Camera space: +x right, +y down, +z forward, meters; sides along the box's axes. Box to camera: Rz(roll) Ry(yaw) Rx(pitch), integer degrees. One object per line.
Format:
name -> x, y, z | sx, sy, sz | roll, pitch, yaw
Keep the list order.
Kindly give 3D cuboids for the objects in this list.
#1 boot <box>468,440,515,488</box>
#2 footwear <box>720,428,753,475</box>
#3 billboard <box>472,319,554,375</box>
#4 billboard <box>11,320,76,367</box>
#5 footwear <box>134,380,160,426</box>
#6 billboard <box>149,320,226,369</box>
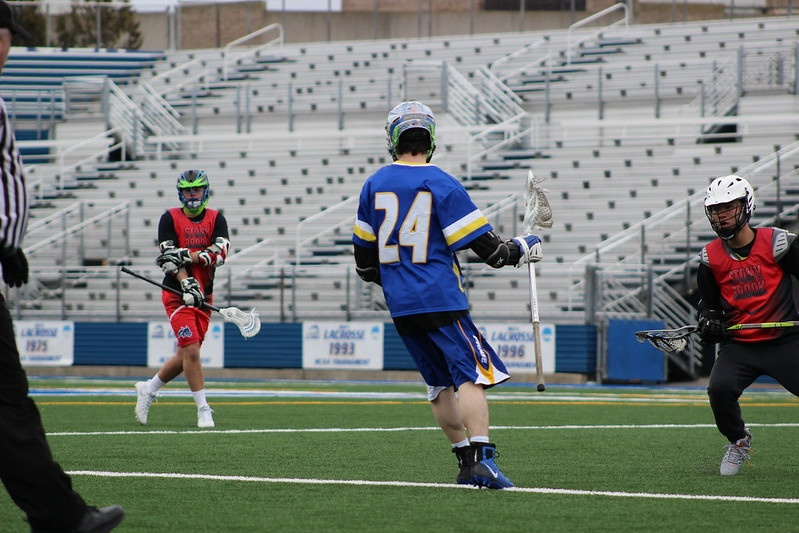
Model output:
boot -> 1.573, 3.458, 29.643 | 1.084, 0.715, 0.389 | 26, -26, -37
footwear -> 5.797, 3.246, 30.254 | 0.517, 0.417, 1.004 | 11, 42, 29
billboard -> 2.785, 1.947, 40.704 | 2.392, 1.229, 0.242 | 2, 4, -40
billboard -> -8.656, 1.929, 42.900 | 1.893, 1.104, 0.161 | -1, -1, 27
footwear -> -4.737, 2.626, 33.006 | 0.492, 0.852, 0.312 | -9, -9, 29
billboard -> -4.503, 1.761, 37.908 | 1.708, 0.885, 0.112 | 1, 0, 6
